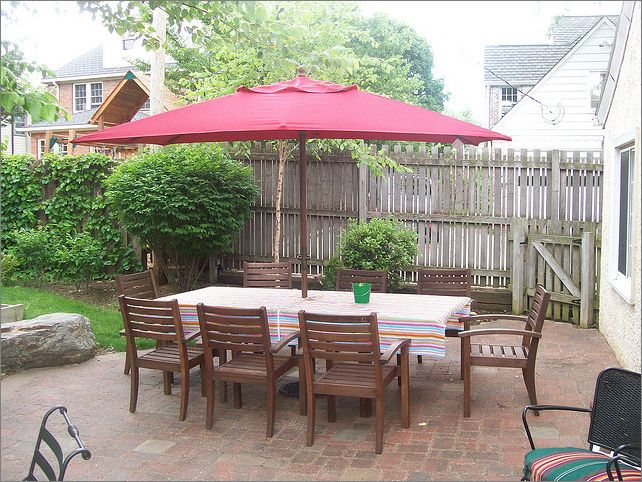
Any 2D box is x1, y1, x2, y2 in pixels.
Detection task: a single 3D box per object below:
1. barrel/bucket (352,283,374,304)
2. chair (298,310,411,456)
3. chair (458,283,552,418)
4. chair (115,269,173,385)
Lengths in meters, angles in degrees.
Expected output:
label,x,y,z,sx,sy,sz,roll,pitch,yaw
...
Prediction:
label,x,y,z,sx,sy,sz,roll,pitch,yaw
barrel/bucket,0.464,0.588,6.274,0.197,0.180,0.209,-1,-4,0
chair,0.331,1.246,5.459,1.027,1.299,0.866,1,10,11
chair,1.988,1.155,6.232,1.045,1.253,1.094,1,3,31
chair,-2.138,1.189,7.614,0.768,1.367,0.856,-6,-7,29
